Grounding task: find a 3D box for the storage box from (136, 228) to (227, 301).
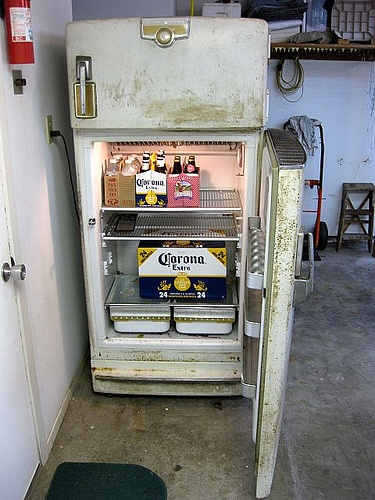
[{"bbox_3d":[-0.028,-0.033,2.212,0.527,0.375,0.309,0,22,1],"label":"storage box"}]
